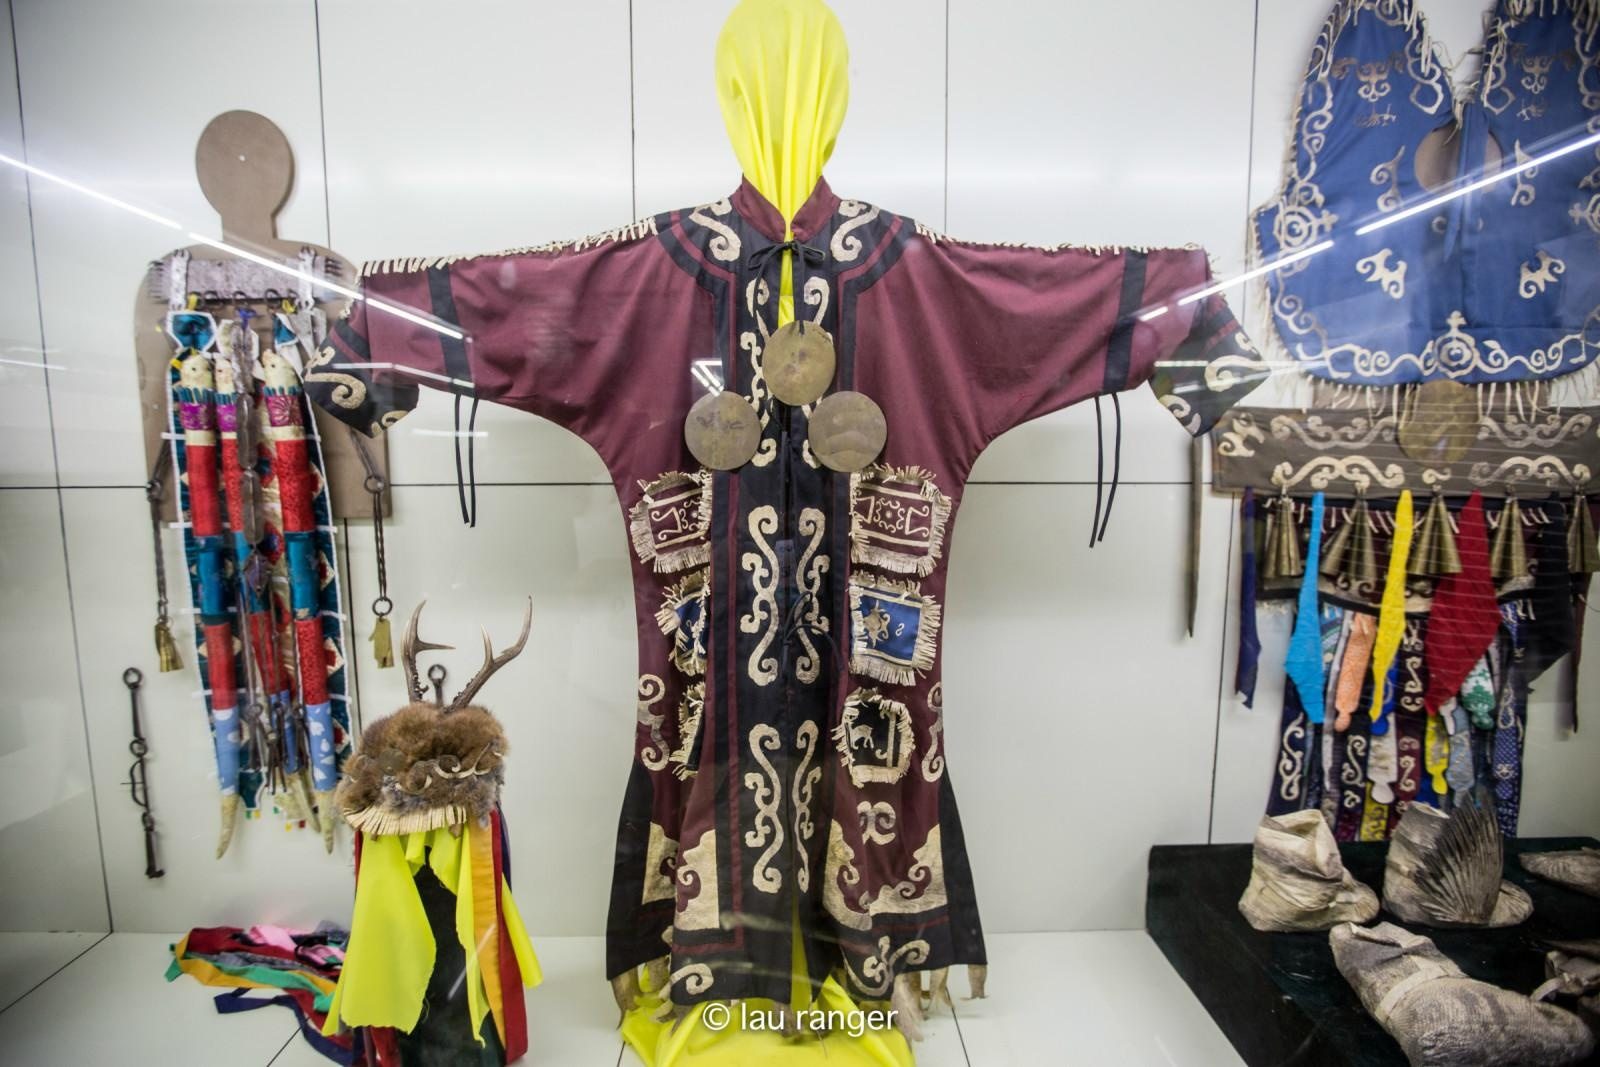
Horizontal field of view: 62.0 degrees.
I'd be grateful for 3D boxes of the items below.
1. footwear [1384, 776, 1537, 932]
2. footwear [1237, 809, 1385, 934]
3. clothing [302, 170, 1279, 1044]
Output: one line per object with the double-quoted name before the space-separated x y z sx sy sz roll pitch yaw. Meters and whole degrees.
"footwear" 1.813 0.852 3.693 0.404 0.403 0.312 -11 24 4
"footwear" 1.426 0.926 3.751 0.358 0.328 0.300 -4 9 1
"clothing" -0.098 0.131 3.608 2.174 2.108 0.403 0 8 1
